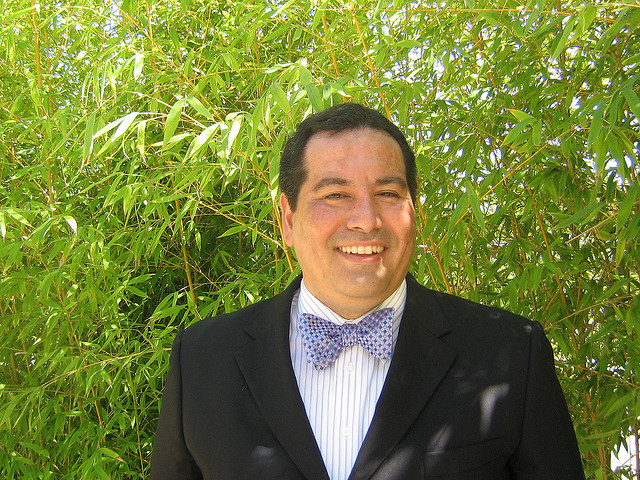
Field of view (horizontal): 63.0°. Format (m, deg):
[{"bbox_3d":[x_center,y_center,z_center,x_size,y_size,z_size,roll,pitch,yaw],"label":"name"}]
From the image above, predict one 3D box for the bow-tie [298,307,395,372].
[{"bbox_3d":[0.084,0.281,1.512,0.265,0.179,0.050,-5,23,7],"label":"bow-tie"}]
